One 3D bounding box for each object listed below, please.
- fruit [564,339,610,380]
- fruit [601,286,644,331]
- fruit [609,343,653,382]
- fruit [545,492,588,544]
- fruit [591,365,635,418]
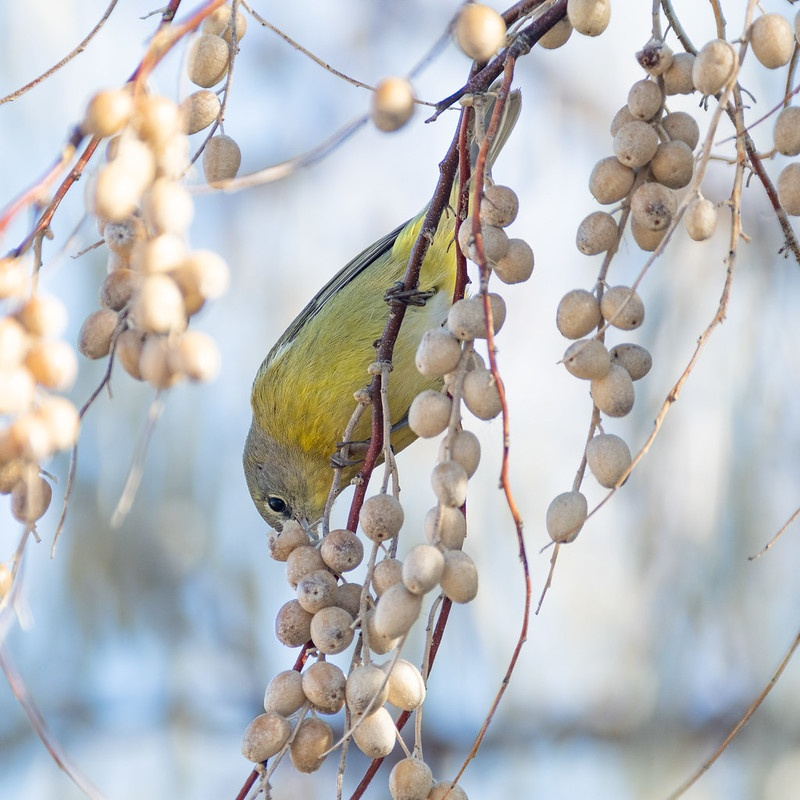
[{"bbox_3d":[0.218,-0.044,1.607,0.042,0.032,0.056,0,-69,2],"label":"fruit"},{"bbox_3d":[0.259,-0.096,1.592,0.036,0.056,0.053,-12,-67,-19],"label":"fruit"},{"bbox_3d":[0.280,-0.046,1.663,0.041,0.037,0.046,14,-99,14],"label":"fruit"},{"bbox_3d":[0.189,0.146,1.623,0.055,0.093,0.025,-14,-61,18],"label":"fruit"},{"bbox_3d":[0.250,-0.004,1.622,0.041,0.051,0.080,1,-90,2],"label":"fruit"}]
